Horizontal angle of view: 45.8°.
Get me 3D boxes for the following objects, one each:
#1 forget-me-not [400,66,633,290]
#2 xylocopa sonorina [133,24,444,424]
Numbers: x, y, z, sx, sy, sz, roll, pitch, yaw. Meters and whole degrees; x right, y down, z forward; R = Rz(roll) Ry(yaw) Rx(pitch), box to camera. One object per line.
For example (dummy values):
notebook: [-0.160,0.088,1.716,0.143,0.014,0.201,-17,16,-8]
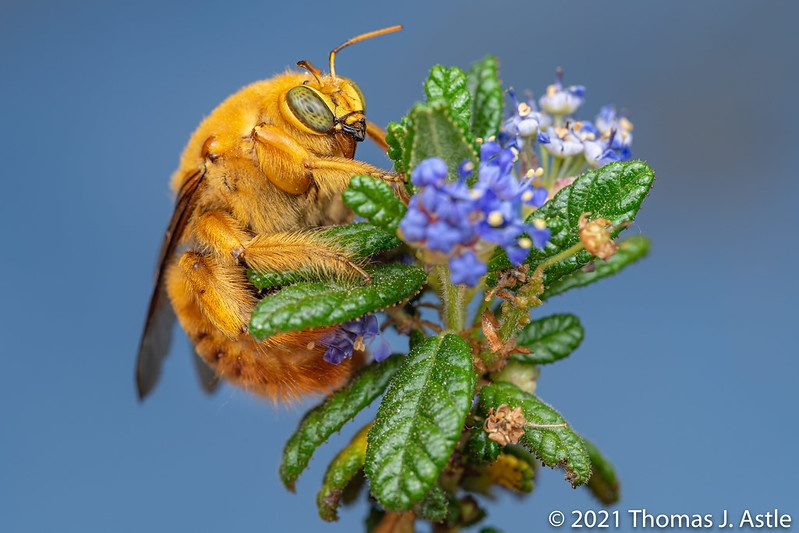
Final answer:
forget-me-not: [0.502,-0.481,5.242,1.082,0.987,1.304,-4,42,-21]
xylocopa sonorina: [-0.848,-0.175,6.001,1.170,1.631,2.116,38,103,10]
